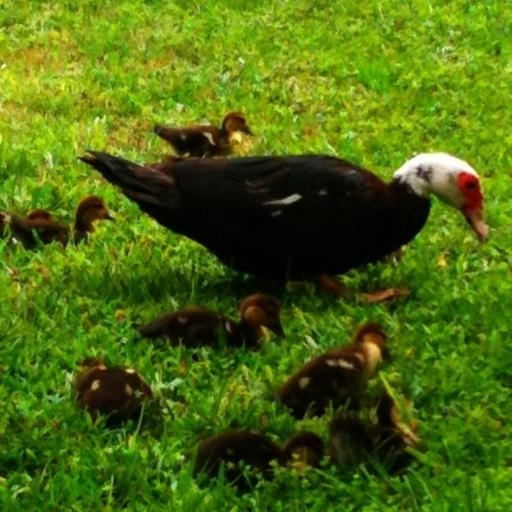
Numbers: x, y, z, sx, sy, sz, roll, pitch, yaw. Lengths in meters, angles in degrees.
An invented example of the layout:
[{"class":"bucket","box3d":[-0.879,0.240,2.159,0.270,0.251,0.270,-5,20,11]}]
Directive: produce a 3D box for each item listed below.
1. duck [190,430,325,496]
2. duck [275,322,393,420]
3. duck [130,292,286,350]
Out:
[{"class":"duck","box3d":[-0.001,0.983,3.932,0.693,0.279,0.259,-3,-7,-15]},{"class":"duck","box3d":[0.436,0.618,4.501,0.823,0.301,0.262,-18,10,-26]},{"class":"duck","box3d":[-0.251,0.416,4.888,1.049,0.362,0.299,2,-2,-12]}]
